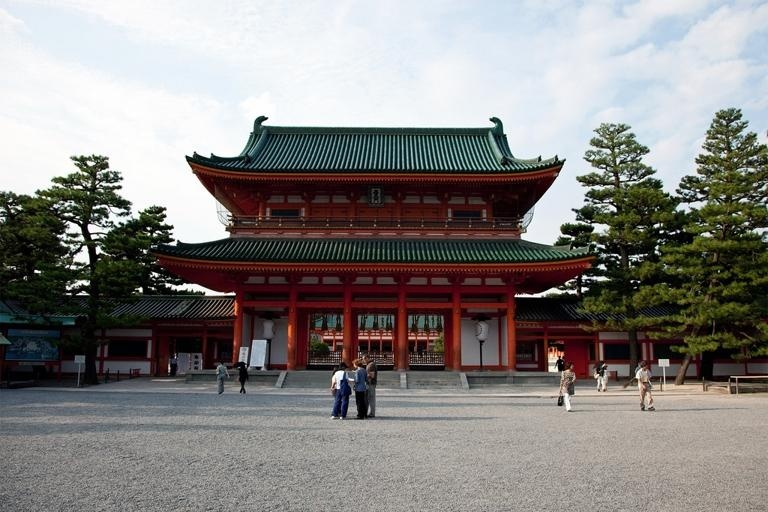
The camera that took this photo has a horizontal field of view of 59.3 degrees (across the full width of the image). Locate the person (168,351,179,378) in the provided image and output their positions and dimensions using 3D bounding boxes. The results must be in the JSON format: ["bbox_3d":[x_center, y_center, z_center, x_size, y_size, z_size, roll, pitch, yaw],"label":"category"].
[{"bbox_3d":[-14.607,7.419,46.772,0.616,1.569,1.184,5,-12,-14],"label":"person"}]

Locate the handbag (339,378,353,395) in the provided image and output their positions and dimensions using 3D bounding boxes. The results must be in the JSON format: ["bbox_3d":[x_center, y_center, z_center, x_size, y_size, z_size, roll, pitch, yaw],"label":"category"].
[{"bbox_3d":[-1.502,5.124,26.368,0.230,0.633,0.476,-8,-16,39],"label":"handbag"}]

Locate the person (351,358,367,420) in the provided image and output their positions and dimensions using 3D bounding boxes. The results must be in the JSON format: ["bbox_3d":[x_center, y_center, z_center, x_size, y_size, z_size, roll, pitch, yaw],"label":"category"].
[{"bbox_3d":[-0.890,5.219,26.591,0.586,2.281,0.885,3,-12,-1],"label":"person"}]
